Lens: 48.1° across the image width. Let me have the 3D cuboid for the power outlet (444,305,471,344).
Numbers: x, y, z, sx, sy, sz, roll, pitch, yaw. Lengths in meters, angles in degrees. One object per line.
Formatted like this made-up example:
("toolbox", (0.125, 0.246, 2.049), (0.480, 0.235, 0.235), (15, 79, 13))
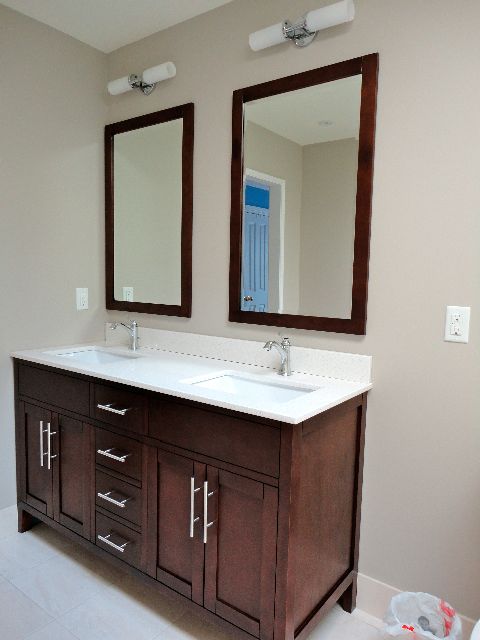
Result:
("power outlet", (0.660, 0.011, 1.621), (0.014, 0.172, 0.077), (-2, 6, -45))

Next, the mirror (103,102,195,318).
("mirror", (-0.399, -0.527, 2.459), (0.025, 1.226, 0.678), (-7, 12, -44))
